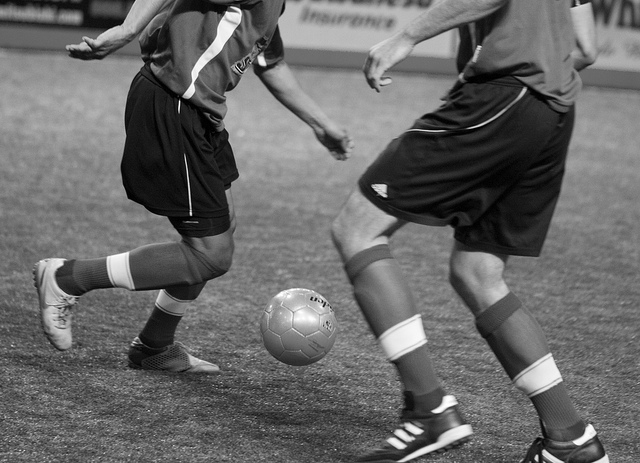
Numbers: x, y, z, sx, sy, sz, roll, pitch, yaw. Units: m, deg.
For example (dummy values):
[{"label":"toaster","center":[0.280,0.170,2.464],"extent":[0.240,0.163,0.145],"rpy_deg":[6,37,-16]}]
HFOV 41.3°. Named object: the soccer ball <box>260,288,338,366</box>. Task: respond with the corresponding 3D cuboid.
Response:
[{"label":"soccer ball","center":[-0.077,0.447,3.870],"extent":[0.323,0.285,0.297],"rpy_deg":[-4,29,2]}]
